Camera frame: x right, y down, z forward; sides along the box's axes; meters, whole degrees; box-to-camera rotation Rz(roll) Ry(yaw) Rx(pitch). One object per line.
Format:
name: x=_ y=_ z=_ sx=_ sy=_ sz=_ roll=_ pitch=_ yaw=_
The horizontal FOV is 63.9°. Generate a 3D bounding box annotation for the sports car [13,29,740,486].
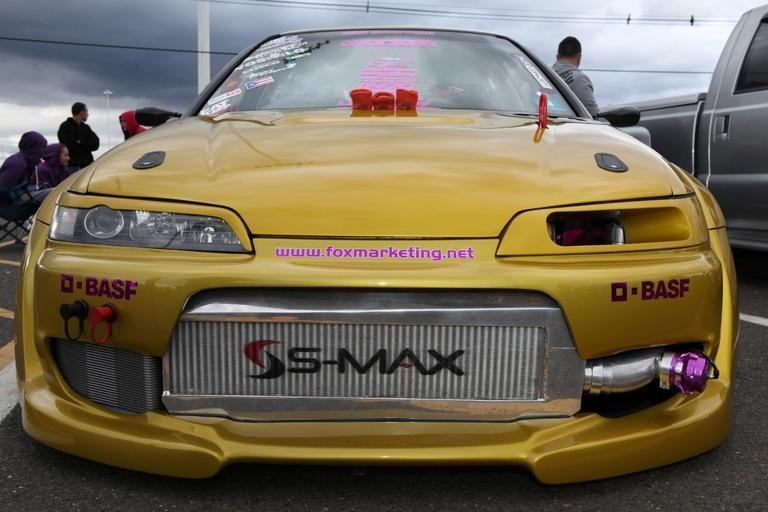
sports car: x=-0.017 y=-0.659 z=3.323 sx=2.949 sy=1.126 sz=3.162 roll=3 pitch=26 yaw=2
